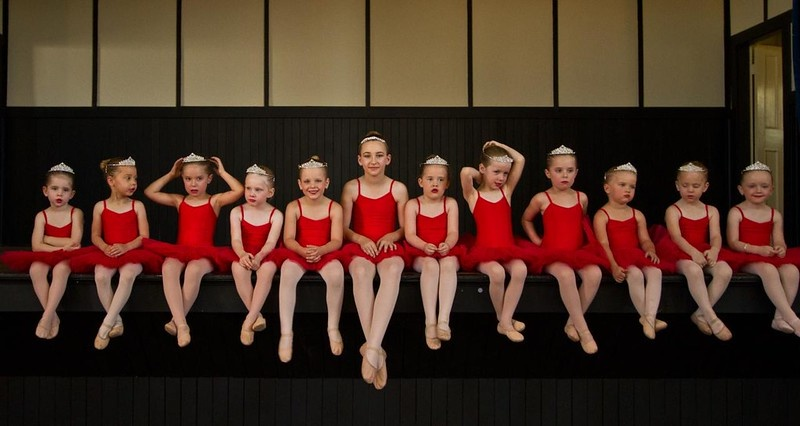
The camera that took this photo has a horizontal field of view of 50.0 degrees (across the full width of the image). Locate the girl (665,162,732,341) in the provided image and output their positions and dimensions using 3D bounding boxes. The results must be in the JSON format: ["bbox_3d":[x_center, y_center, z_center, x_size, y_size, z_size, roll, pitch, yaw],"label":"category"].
[{"bbox_3d":[3.200,0.380,9.157,0.631,1.848,0.539,1,-2,-2],"label":"girl"}]

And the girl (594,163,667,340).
[{"bbox_3d":[2.440,0.379,9.093,0.644,1.804,0.569,2,-2,-15],"label":"girl"}]

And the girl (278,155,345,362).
[{"bbox_3d":[-0.942,0.468,9.067,0.675,2.120,0.445,1,-2,-8],"label":"girl"}]

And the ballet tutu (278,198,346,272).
[{"bbox_3d":[-0.935,0.256,9.253,0.859,0.893,0.628,0,-4,-7],"label":"ballet tutu"}]

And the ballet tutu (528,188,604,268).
[{"bbox_3d":[1.803,0.190,9.192,0.861,0.910,0.688,-2,-7,-12],"label":"ballet tutu"}]

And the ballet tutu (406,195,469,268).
[{"bbox_3d":[0.344,0.215,9.348,0.794,0.737,0.656,0,-3,-5],"label":"ballet tutu"}]

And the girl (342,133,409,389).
[{"bbox_3d":[-0.296,0.442,9.057,0.828,2.640,1.389,3,-29,-5],"label":"girl"}]

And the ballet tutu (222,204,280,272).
[{"bbox_3d":[-1.545,0.248,9.229,0.868,0.783,0.540,0,-3,-1],"label":"ballet tutu"}]

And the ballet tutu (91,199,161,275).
[{"bbox_3d":[-3.002,0.262,9.291,0.830,0.771,0.710,-1,-5,-16],"label":"ballet tutu"}]

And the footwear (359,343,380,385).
[{"bbox_3d":[-0.354,1.584,8.834,0.154,0.479,0.152,-19,-24,29],"label":"footwear"}]

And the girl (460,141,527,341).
[{"bbox_3d":[0.984,0.286,9.159,0.684,2.133,0.633,1,-2,-2],"label":"girl"}]

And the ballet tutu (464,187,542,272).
[{"bbox_3d":[0.999,0.180,9.215,0.974,0.948,0.710,-3,-4,-25],"label":"ballet tutu"}]

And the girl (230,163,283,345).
[{"bbox_3d":[-1.539,0.427,9.060,0.548,1.851,0.374,1,-2,-9],"label":"girl"}]

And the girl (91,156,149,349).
[{"bbox_3d":[-3.019,0.410,9.158,0.557,1.995,0.576,2,-3,-19],"label":"girl"}]
